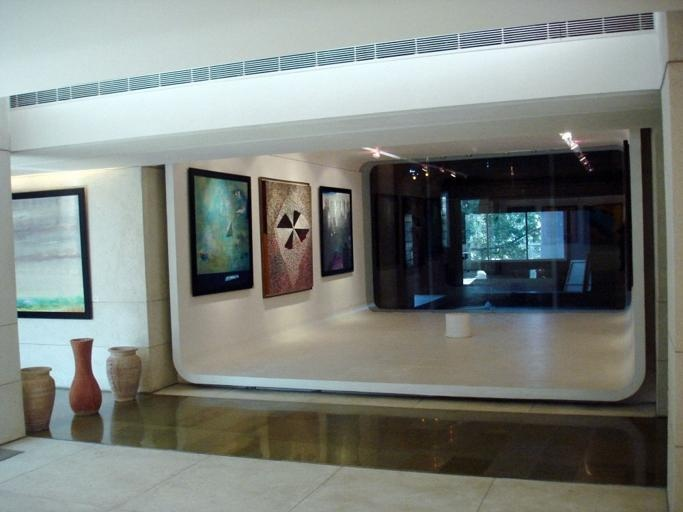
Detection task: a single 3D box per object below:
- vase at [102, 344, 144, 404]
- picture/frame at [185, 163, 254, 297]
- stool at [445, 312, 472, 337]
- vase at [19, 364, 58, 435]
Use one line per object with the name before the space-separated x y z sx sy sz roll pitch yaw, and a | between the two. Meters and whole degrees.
vase | -2.944 1.605 7.454 0.430 0.728 0.249 -6 7 -20
picture/frame | -1.873 -0.392 8.568 0.243 1.940 1.459 0 7 24
stool | 2.076 1.218 9.665 0.437 0.375 0.354 -2 7 7
vase | -3.583 1.692 6.495 0.345 0.701 0.520 -7 8 -31
